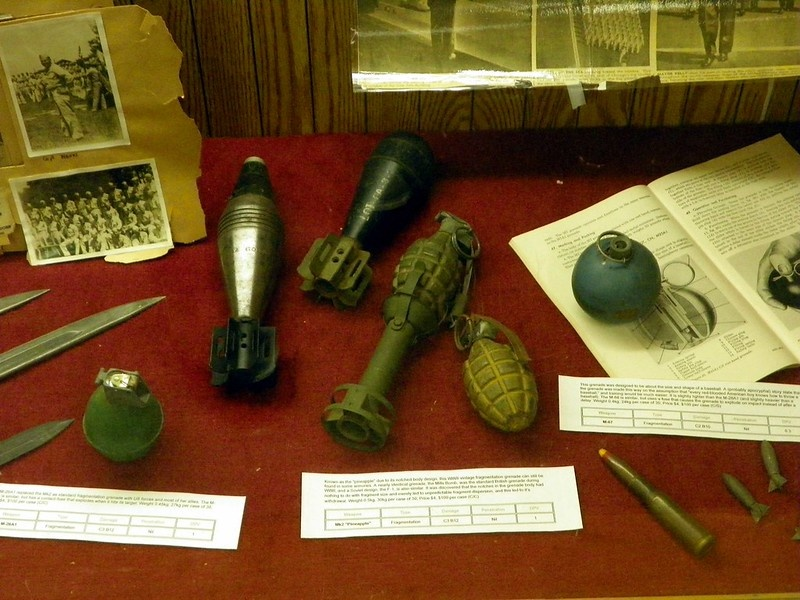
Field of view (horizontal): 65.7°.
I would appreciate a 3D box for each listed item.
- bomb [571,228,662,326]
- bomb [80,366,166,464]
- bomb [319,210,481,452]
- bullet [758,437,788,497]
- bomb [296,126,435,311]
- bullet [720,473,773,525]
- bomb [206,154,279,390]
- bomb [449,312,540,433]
[{"bbox_3d":[0.456,-0.049,1.326,0.180,0.218,0.180,9,55,16],"label":"bomb"},{"bbox_3d":[-0.523,0.225,1.164,0.106,0.149,0.111,21,58,-5],"label":"bomb"},{"bbox_3d":[0.027,0.037,1.370,0.190,0.176,0.599,19,56,8],"label":"bomb"},{"bbox_3d":[0.722,0.323,1.206,0.035,0.035,0.086,-15,38,18],"label":"bullet"},{"bbox_3d":[-0.064,-0.196,1.418,0.172,0.189,0.581,30,58,-11],"label":"bomb"},{"bbox_3d":[0.655,0.376,1.177,0.038,0.027,0.098,-28,39,-3],"label":"bullet"},{"bbox_3d":[-0.335,-0.086,1.389,0.137,0.140,0.587,-1,63,-5],"label":"bomb"},{"bbox_3d":[0.184,0.156,1.249,0.104,0.098,0.225,34,17,-16],"label":"bomb"}]
